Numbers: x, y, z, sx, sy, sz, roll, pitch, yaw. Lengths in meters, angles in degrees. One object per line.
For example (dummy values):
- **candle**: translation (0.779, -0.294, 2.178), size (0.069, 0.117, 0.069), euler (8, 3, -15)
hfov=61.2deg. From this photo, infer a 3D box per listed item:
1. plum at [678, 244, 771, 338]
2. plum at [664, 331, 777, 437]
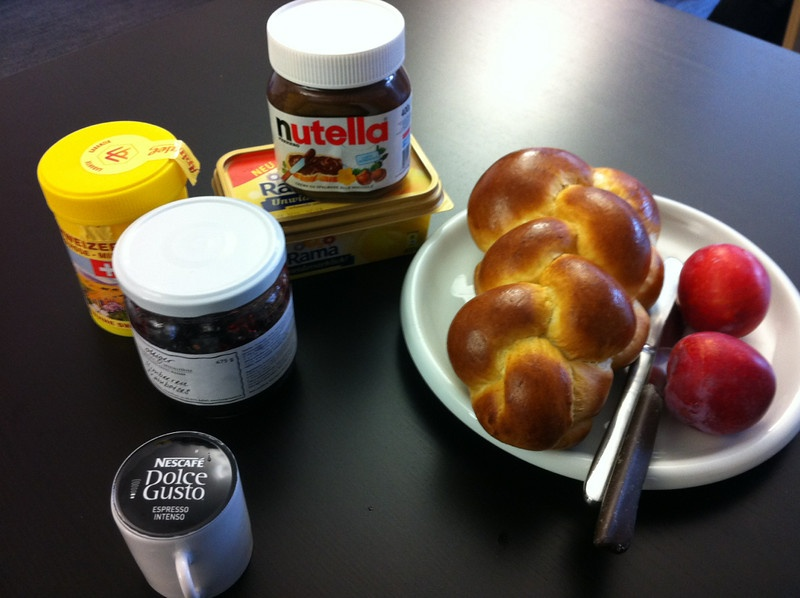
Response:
- **plum**: translation (0.354, -0.020, 0.788), size (0.098, 0.127, 0.101), euler (2, 6, 15)
- **plum**: translation (0.323, 0.097, 0.722), size (0.107, 0.089, 0.093), euler (-9, 71, 20)
